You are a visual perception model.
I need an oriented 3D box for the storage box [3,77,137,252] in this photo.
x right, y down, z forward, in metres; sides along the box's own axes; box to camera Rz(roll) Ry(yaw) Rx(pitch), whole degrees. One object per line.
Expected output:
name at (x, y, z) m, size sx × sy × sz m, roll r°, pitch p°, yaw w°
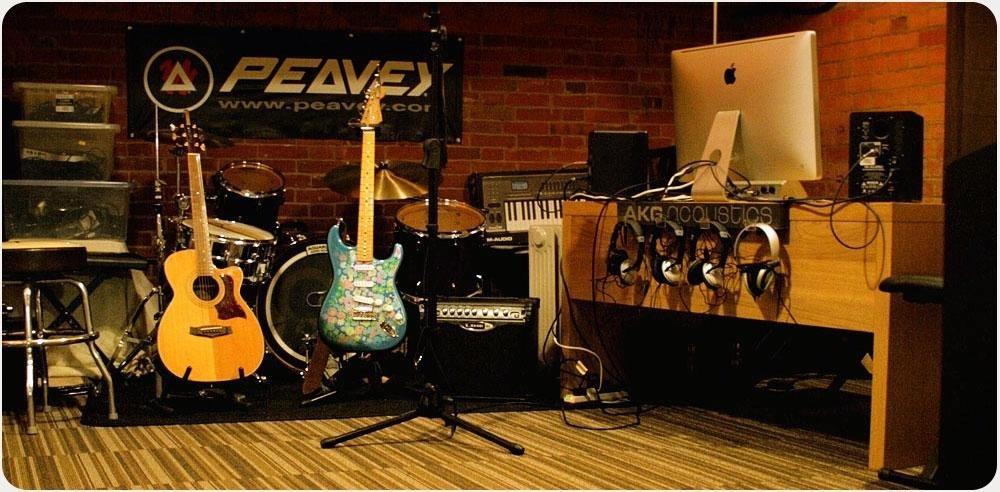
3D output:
storage box at (-3.385, -0.621, 6.078) m, size 0.894 × 1.325 × 0.397 m, roll 0°, pitch 2°, yaw -19°

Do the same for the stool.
stool at (2.465, 0.816, 4.670) m, size 0.384 × 1.279 × 0.205 m, roll 2°, pitch 2°, yaw 13°

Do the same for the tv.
tv at (1.563, -0.848, 5.254) m, size 0.666 × 1.053 × 1.183 m, roll -17°, pitch 15°, yaw -31°

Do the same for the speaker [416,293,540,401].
speaker at (-0.012, 0.782, 5.896) m, size 0.971 × 0.722 × 0.525 m, roll -4°, pitch -1°, yaw 34°

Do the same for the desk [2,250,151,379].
desk at (-3.174, 0.449, 6.316) m, size 1.158 × 0.943 × 1.001 m, roll 0°, pitch 9°, yaw -9°

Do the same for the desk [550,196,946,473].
desk at (1.419, 0.618, 5.867) m, size 3.178 × 1.633 × 1.041 m, roll 0°, pitch -10°, yaw 41°

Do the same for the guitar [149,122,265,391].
guitar at (-2.065, 0.142, 5.551) m, size 0.697 × 1.602 × 0.237 m, roll 1°, pitch 2°, yaw -15°

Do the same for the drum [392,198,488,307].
drum at (-0.447, 0.028, 6.053) m, size 0.847 × 0.662 × 0.762 m, roll 0°, pitch 15°, yaw -14°

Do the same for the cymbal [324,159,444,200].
cymbal at (-0.927, -0.538, 6.025) m, size 0.665 × 0.122 × 0.670 m, roll 19°, pitch -15°, yaw -34°

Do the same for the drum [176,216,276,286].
drum at (-2.127, 0.009, 5.912) m, size 0.762 × 0.265 × 0.705 m, roll 7°, pitch -17°, yaw 2°

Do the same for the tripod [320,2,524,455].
tripod at (-0.753, -0.116, 5.331) m, size 0.969 × 2.898 × 1.564 m, roll -1°, pitch 3°, yaw -44°

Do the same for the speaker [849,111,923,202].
speaker at (2.463, -0.574, 4.953) m, size 0.429 × 0.564 × 0.120 m, roll 2°, pitch 2°, yaw 17°

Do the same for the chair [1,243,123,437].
chair at (-3.188, 0.619, 5.615) m, size 0.750 × 1.282 × 0.860 m, roll 0°, pitch 2°, yaw -26°
